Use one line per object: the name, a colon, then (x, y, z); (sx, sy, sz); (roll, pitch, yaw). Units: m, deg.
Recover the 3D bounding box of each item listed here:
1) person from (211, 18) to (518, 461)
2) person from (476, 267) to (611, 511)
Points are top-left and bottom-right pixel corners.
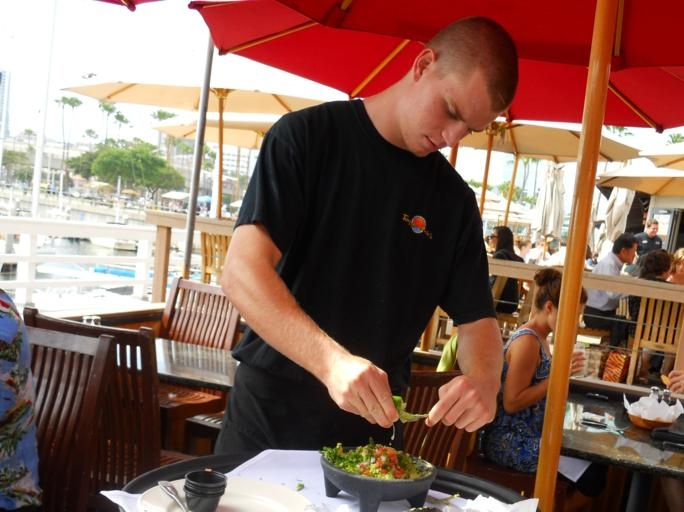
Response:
person: (0.161, -0.118, 1.564); (0.970, 0.897, 0.669); (3, 4, -38)
person: (1.437, 0.780, 3.439); (0.775, 1.320, 0.774); (11, 5, 35)
